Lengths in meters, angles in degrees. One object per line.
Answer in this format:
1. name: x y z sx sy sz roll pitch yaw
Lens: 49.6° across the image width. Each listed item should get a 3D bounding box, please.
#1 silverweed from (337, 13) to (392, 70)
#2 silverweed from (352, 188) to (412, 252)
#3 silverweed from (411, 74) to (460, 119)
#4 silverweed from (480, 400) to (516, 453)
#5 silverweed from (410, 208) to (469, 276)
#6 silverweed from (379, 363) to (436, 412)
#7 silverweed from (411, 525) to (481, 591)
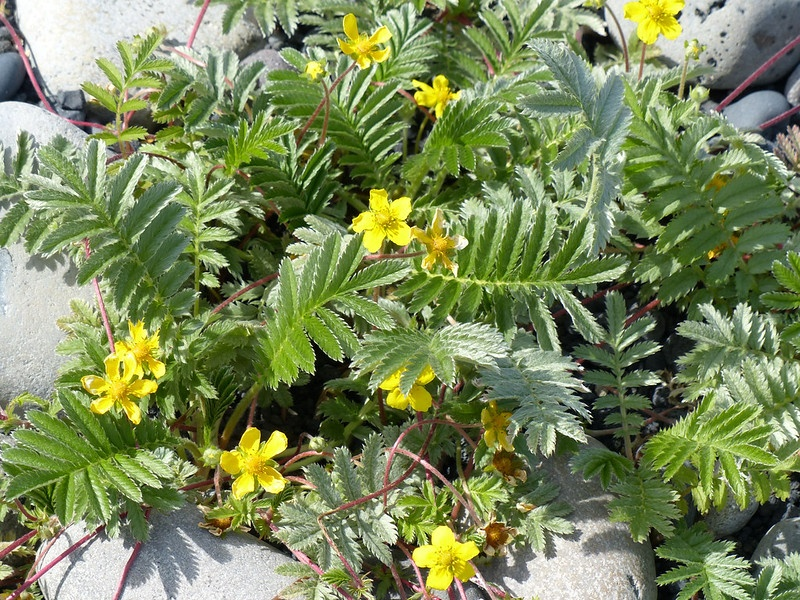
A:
1. silverweed: -0.142 -0.986 3.467 0.224 0.119 0.242 13 63 -6
2. silverweed: -0.063 -0.319 3.197 0.239 0.235 0.107 -3 74 20
3. silverweed: 0.162 -0.905 3.844 0.175 0.096 0.207 -11 51 -21
4. silverweed: 0.343 0.473 3.204 0.151 0.055 0.169 -36 97 -16
5. silverweed: 0.141 -0.192 3.081 0.209 0.101 0.206 32 56 -1
6. silverweed: 0.070 0.290 3.123 0.223 0.069 0.225 25 27 37
7. silverweed: 0.174 0.891 2.985 0.246 0.212 0.067 -16 100 -64
